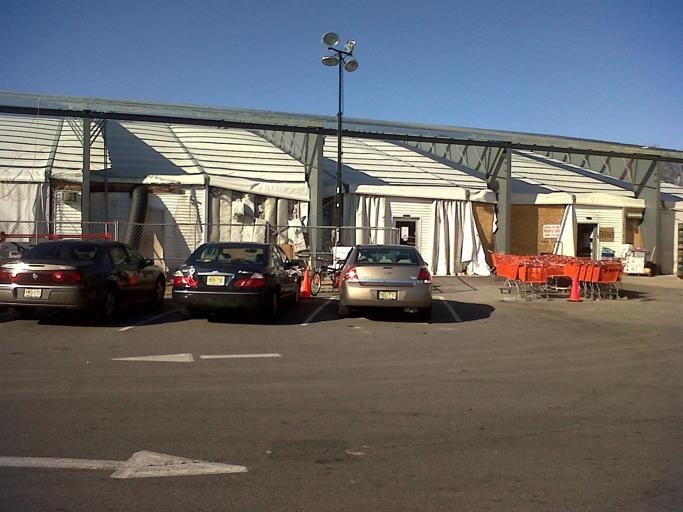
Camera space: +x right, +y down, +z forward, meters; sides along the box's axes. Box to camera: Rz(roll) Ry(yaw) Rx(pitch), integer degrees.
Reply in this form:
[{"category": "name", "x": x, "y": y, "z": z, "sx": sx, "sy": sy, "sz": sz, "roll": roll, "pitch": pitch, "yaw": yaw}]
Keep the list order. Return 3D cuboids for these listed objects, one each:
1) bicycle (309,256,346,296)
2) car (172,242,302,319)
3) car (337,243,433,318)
[{"category": "bicycle", "x": -0.333, "y": 0.632, "z": 20.719, "sx": 1.500, "sy": 1.006, "sz": 0.755, "roll": -4, "pitch": -21, "yaw": 9}, {"category": "car", "x": -2.065, "y": 0.491, "z": 13.747, "sx": 1.750, "sy": 1.540, "sz": 2.862, "roll": 3, "pitch": 6, "yaw": 23}, {"category": "car", "x": 0.917, "y": 0.642, "z": 13.582, "sx": 1.949, "sy": 1.553, "sz": 1.007, "roll": 1, "pitch": 5, "yaw": 3}]
